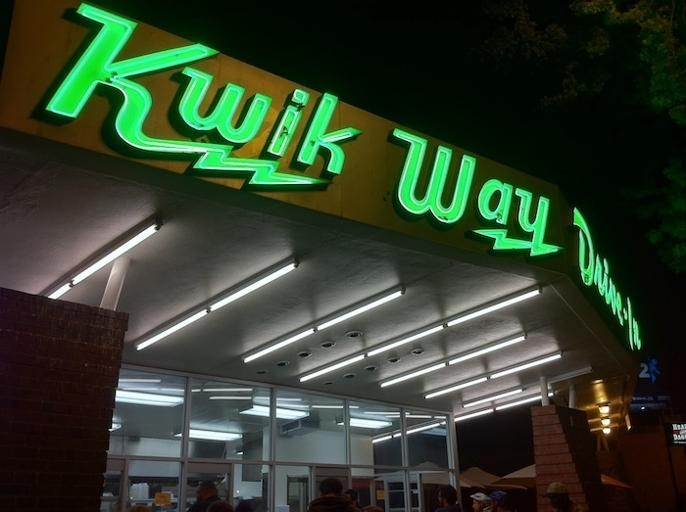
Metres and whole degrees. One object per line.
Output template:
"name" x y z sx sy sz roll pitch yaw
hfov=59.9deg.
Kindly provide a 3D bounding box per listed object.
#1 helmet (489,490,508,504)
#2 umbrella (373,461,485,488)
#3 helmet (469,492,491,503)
"helmet" 2.187 3.362 8.287 0.167 0.176 0.196 14 -6 -10
"umbrella" 2.696 5.743 15.663 1.257 0.617 4.509 -18 -29 34
"helmet" 2.209 3.860 9.499 0.210 0.135 0.362 -1 -24 1
